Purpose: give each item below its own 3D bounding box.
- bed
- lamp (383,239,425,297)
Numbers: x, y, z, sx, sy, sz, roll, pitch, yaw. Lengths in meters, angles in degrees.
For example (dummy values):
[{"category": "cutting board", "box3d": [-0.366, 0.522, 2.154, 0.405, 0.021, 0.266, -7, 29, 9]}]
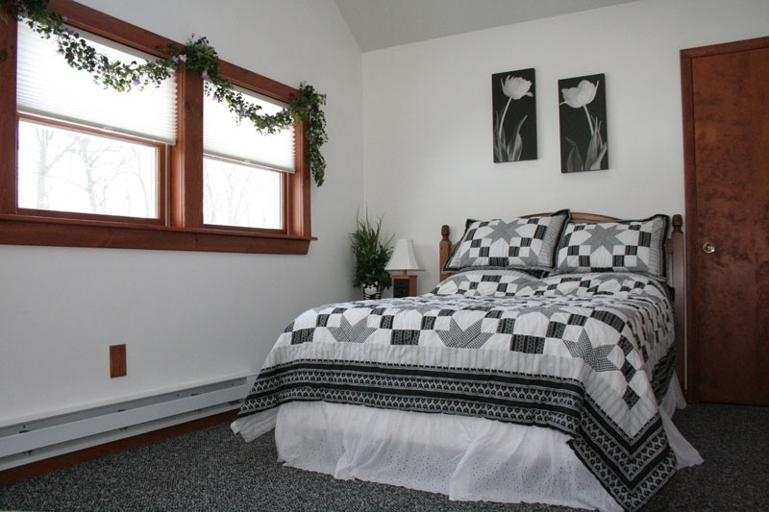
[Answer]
[{"category": "bed", "box3d": [0.989, 0.484, 3.638, 1.988, 1.428, 2.338, -4, -7, 32]}, {"category": "lamp", "box3d": [0.193, 0.193, 5.216, 0.356, 0.694, 0.363, 10, -10, -24]}]
